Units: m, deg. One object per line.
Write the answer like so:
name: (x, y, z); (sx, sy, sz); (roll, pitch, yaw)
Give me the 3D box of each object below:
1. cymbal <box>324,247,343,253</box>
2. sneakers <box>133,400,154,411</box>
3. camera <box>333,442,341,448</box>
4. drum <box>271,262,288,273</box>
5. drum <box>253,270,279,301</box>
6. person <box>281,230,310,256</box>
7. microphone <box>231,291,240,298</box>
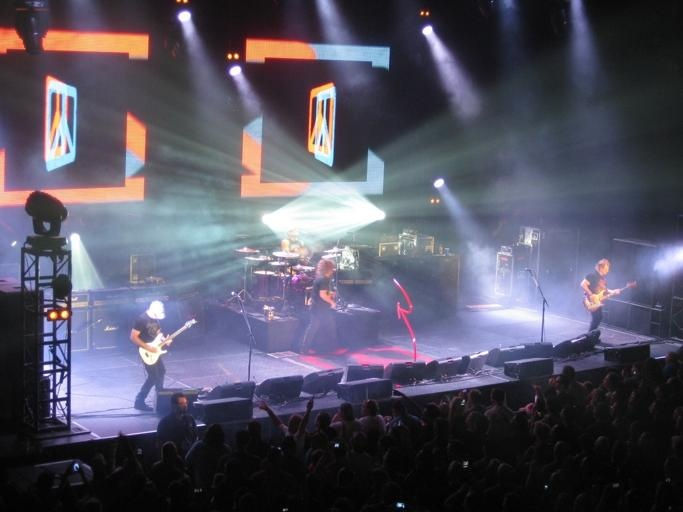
cymbal: (-0.227, -0.141, 17.406); (0.402, 0.188, 0.613); (-2, -5, -17)
sneakers: (-3.307, 2.498, 10.823); (0.400, 0.159, 0.131); (18, 4, -34)
camera: (-0.056, 2.219, 7.662); (0.058, 0.064, 0.016); (9, 8, 10)
drum: (-1.540, 0.262, 16.054); (0.334, 0.282, 0.321); (-9, 30, -32)
drum: (-1.833, 0.712, 16.360); (0.698, 0.771, 0.690); (-3, 8, -22)
person: (-1.295, -0.331, 17.227); (0.633, 0.738, 1.088); (-5, -5, 23)
microphone: (-2.618, 0.944, 15.982); (0.209, 0.090, 0.087); (29, 36, 18)
